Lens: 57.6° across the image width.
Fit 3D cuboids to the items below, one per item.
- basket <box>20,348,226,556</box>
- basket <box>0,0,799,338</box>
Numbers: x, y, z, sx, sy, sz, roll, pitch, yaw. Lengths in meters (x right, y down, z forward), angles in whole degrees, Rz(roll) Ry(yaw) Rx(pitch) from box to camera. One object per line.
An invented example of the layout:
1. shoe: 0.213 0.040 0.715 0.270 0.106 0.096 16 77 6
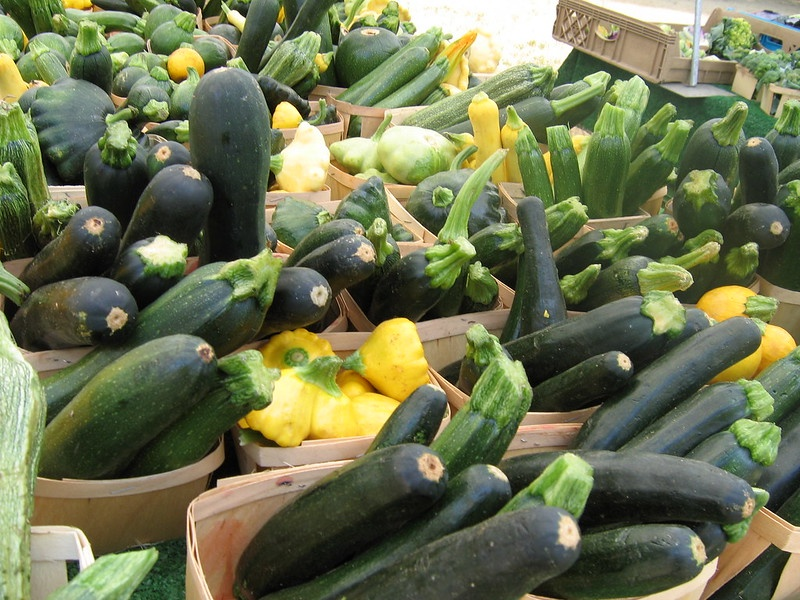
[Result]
1. basket: -0.969 0.617 2.835 0.799 0.305 0.708 -1 32 -46
2. basket: 0.207 -0.480 3.675 3.182 0.989 2.389 -3 45 -20
